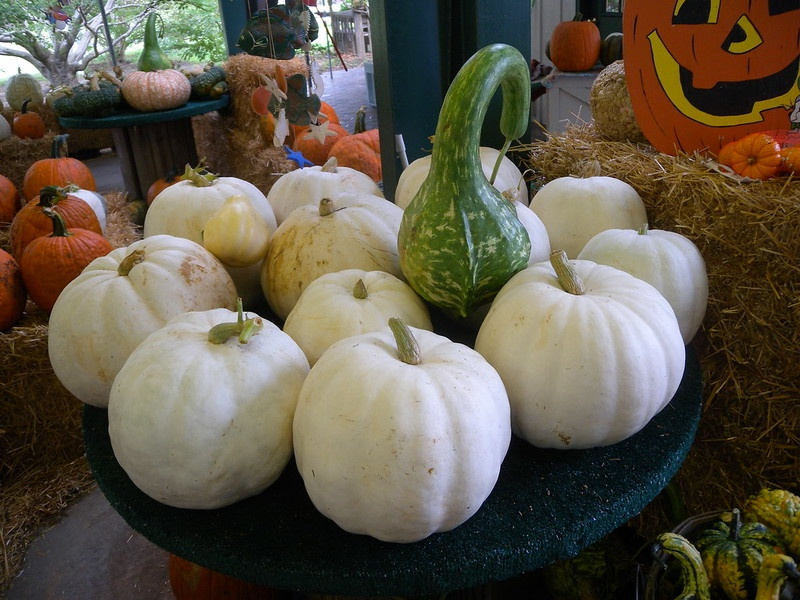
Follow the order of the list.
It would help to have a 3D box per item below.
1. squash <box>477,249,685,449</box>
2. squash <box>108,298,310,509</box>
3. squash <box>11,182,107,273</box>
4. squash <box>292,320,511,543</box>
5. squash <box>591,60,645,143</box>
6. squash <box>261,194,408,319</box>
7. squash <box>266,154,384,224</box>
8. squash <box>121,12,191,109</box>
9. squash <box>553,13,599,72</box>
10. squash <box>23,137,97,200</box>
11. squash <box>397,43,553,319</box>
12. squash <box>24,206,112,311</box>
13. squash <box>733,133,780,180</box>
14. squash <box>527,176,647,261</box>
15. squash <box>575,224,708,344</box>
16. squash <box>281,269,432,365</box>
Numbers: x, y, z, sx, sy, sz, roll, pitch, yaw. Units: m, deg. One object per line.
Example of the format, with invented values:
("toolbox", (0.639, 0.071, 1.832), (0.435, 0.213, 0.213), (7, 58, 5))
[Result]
("squash", (0.448, 0.120, 1.558), (0.511, 0.491, 0.494), (0, 18, 27))
("squash", (-0.375, 0.180, 1.476), (0.393, 0.457, 0.425), (4, 5, 22))
("squash", (-1.608, -0.333, 3.068), (0.388, 0.417, 0.409), (-5, 27, -11))
("squash", (-0.002, 0.261, 1.436), (0.462, 0.501, 0.492), (9, 24, 10))
("squash", (0.783, -0.765, 2.451), (0.226, 0.298, 0.273), (-2, 24, 4))
("squash", (-0.155, -0.158, 1.769), (0.315, 0.312, 0.328), (-7, 15, 23))
("squash", (-0.242, -0.290, 1.955), (0.242, 0.246, 0.255), (-3, 6, -14))
("squash", (-1.705, -1.635, 4.393), (0.437, 0.587, 0.538), (-5, 28, -5))
("squash", (1.329, -1.864, 4.712), (0.353, 0.451, 0.358), (8, 33, 14))
("squash", (-2.096, -0.779, 3.939), (0.316, 0.471, 0.330), (-4, -2, 36))
("squash", (0.165, -0.242, 1.495), (0.343, 0.643, 0.214), (-7, 27, -10))
("squash", (-1.426, -0.158, 2.613), (0.289, 0.366, 0.303), (23, 14, 17))
("squash", (1.016, -0.404, 1.830), (0.121, 0.132, 0.069), (-14, -3, 43))
("squash", (0.536, -0.248, 1.906), (0.238, 0.251, 0.252), (-1, 4, -3))
("squash", (0.625, -0.062, 1.740), (0.296, 0.307, 0.300), (6, 6, -14))
("squash", (-0.118, -0.005, 1.490), (0.234, 0.242, 0.247), (0, 7, 13))
